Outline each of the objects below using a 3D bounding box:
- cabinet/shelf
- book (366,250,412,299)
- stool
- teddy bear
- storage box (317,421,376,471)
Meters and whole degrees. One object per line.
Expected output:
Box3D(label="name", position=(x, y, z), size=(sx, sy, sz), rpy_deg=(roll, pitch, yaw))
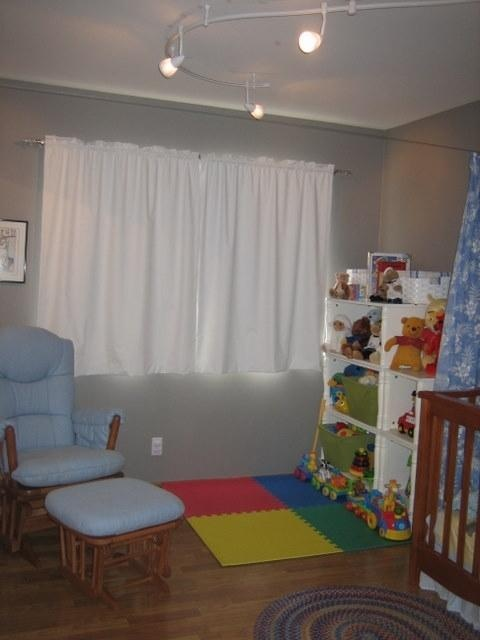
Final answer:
Box3D(label="cabinet/shelf", position=(0.820, 0.568, 2.879), size=(0.358, 1.173, 1.192), rpy_deg=(1, 3, -12))
Box3D(label="book", position=(0.925, -0.274, 3.090), size=(0.294, 0.419, 0.043), rpy_deg=(1, 5, -6))
Box3D(label="stool", position=(-0.544, 0.925, 2.073), size=(0.419, 0.338, 0.474), rpy_deg=(-2, 7, -29))
Box3D(label="teddy bear", position=(0.943, -0.026, 3.119), size=(0.374, 0.650, 1.024), rpy_deg=(2, 0, -18))
Box3D(label="storage box", position=(0.705, 0.834, 3.354), size=(0.291, 0.223, 0.302), rpy_deg=(2, 3, -10))
